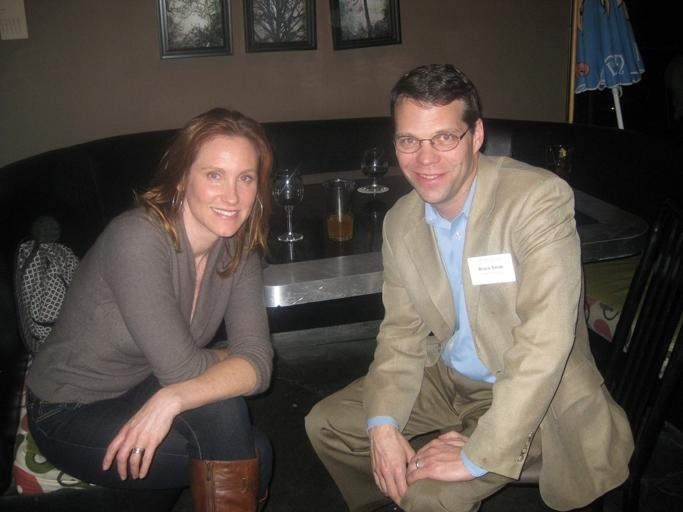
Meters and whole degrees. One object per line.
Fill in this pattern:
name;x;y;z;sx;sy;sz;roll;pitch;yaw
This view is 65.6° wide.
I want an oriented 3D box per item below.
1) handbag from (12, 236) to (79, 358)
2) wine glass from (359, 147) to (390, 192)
handbag;-1.045;0.129;1.843;0.231;0.436;0.124;5;-3;-28
wine glass;0.174;-0.508;3.051;0.235;0.290;0.237;-1;14;-3
